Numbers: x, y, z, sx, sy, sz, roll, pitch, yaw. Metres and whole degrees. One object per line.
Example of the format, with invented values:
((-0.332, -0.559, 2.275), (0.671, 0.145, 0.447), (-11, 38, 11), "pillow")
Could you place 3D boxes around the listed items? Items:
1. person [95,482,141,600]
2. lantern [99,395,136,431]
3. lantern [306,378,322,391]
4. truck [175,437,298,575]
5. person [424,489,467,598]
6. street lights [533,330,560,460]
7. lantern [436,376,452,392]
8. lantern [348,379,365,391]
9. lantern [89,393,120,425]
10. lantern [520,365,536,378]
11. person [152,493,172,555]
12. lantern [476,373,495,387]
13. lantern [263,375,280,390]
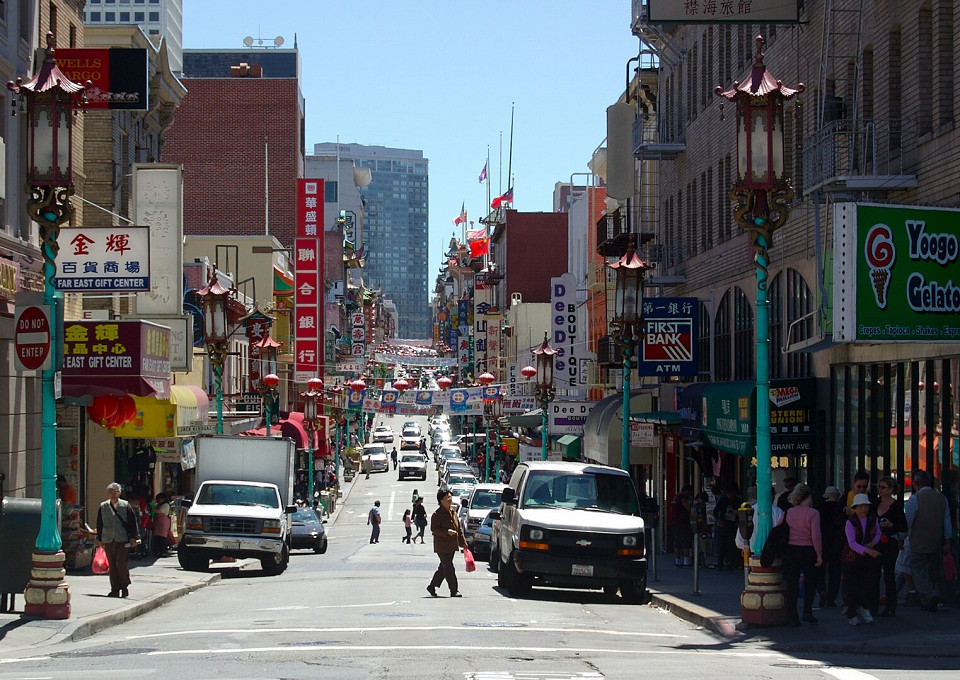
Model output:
((-7.823, 4.276, 39.416), (0.721, 2.365, 1.057), (0, -1, -17), "person")
((-9.020, 1.814, 45.754), (0.728, 0.921, 0.720), (-3, -1, -6), "lantern")
((-6.966, 1.908, 76.699), (0.467, 0.461, 0.518), (0, -2, 9), "lantern")
((-6.274, 4.331, 48.460), (1.997, 3.062, 6.121), (0, -2, -4), "truck")
((-0.756, 4.477, 40.511), (0.928, 2.207, 0.804), (0, -1, 2), "person")
((2.382, 1.633, 62.042), (0.677, 4.856, 0.910), (-1, -1, -8), "street lights")
((-1.515, 1.919, 78.512), (0.562, 0.424, 0.615), (1, 2, -12), "lantern")
((-5.155, 1.949, 77.496), (0.463, 0.497, 0.475), (1, 2, -7), "lantern")
((-9.401, 1.764, 45.525), (0.716, 1.072, 0.650), (6, -7, -43), "lantern")
((1.843, 1.239, 69.333), (0.428, 0.479, 0.459), (-1, 3, -21), "lantern")
((-8.808, 5.111, 50.781), (0.542, 1.797, 1.506), (1, -6, -10), "person")
((0.180, 1.768, 78.650), (0.606, 0.641, 0.668), (2, 0, 13), "lantern")
((-7.476, 1.454, 65.512), (0.494, 0.577, 0.584), (8, -35, -12), "lantern")
